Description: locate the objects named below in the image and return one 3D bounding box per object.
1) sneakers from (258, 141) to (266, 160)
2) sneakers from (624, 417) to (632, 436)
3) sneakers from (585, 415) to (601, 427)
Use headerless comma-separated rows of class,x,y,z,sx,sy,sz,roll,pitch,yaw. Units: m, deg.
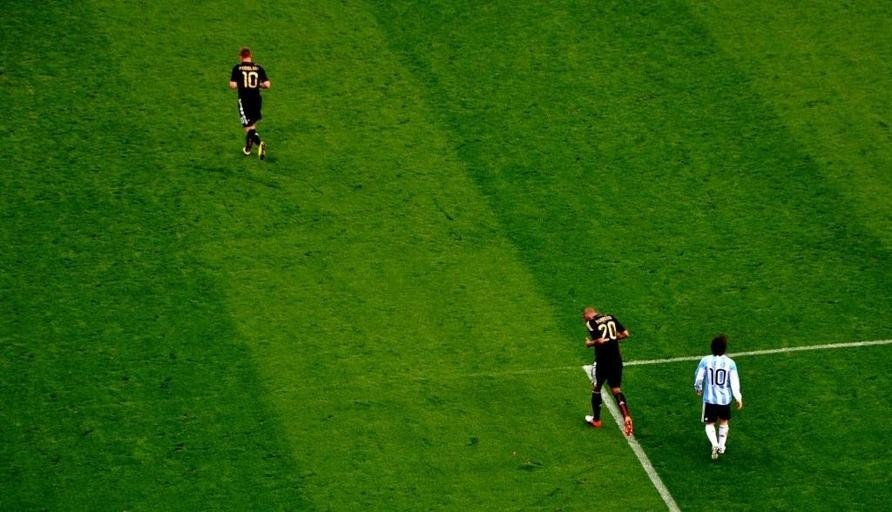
sneakers,-4.098,-2.420,44.064,0.204,0.456,0.205,-24,65,-20
sneakers,3.916,3.565,39.845,0.239,0.347,0.176,-1,8,-6
sneakers,3.201,3.535,40.618,0.354,0.136,0.175,32,70,20
